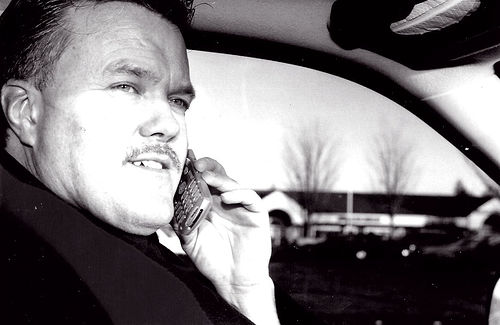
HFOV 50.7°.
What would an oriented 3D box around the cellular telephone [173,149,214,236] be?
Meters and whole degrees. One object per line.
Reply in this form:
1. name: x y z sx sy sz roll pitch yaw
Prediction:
1. cellular telephone: -0.233 0.119 2.115 0.050 0.149 0.355 16 16 -28
